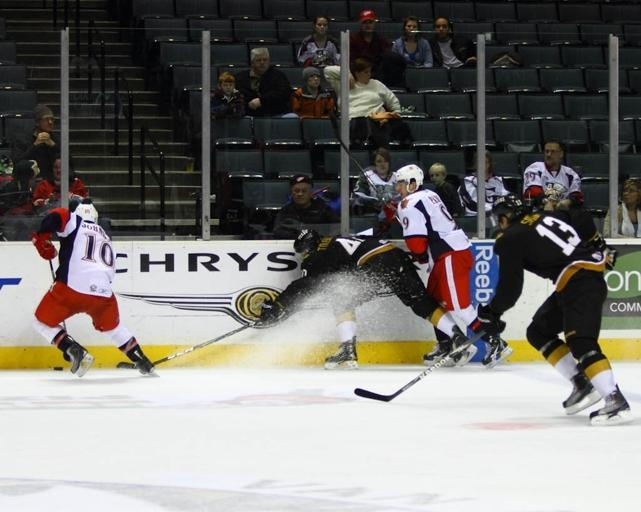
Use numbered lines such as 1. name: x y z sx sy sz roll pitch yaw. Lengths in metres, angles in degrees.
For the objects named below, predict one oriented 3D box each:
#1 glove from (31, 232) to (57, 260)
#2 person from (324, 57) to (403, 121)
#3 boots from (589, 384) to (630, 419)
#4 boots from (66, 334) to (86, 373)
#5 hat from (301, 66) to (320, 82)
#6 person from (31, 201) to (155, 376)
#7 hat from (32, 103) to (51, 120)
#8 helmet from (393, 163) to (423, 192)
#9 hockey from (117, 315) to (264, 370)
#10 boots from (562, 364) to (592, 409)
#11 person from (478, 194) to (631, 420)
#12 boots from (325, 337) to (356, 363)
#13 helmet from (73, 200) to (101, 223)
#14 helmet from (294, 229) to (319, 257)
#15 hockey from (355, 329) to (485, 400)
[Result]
1. glove: -2.113 -0.079 8.162 0.171 0.207 0.102 -31 14 -29
2. person: 0.371 -1.385 8.962 0.879 0.624 0.476 -2 13 -9
3. boots: 1.762 0.910 6.438 0.234 0.218 0.122 -2 0 9
4. boots: -1.854 0.763 8.017 0.129 0.295 0.254 -2 0 -26
5. hat: -0.078 -1.512 8.664 0.099 0.095 0.129 -22 24 -35
6. person: -1.780 0.240 8.131 0.704 1.381 0.504 -2 0 28
7. hat: -2.222 -1.166 8.492 0.153 0.114 0.101 -1 4 13
8. helmet: 0.730 -0.658 8.754 0.247 0.172 0.177 -1 -1 2
9. hockey: -1.111 0.699 8.652 1.165 0.179 0.130 -17 9 5
10. boots: 1.662 0.854 6.746 0.159 0.239 0.187 -2 0 41
11. person: 1.552 0.305 6.807 0.991 1.408 0.548 -2 0 36
12. boots: 0.171 0.782 8.640 0.265 0.243 0.176 -2 0 -1
13. helmet: -1.835 -0.349 8.293 0.174 0.198 0.211 -1 -12 -18
14. helmet: -0.106 -0.116 8.659 0.240 0.184 0.170 -7 -2 11
15. hockey: 0.768 0.856 8.219 0.820 0.233 0.060 -25 -38 -5
